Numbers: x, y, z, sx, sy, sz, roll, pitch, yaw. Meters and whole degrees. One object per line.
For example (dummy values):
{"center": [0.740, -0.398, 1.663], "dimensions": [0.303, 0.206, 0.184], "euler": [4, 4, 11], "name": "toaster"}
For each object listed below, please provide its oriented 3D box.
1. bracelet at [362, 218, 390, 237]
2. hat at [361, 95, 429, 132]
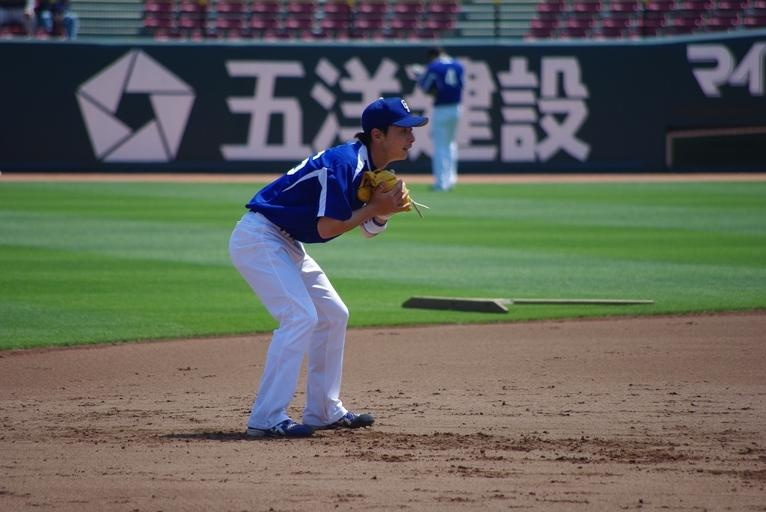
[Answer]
{"center": [-0.108, -0.351, 22.315], "dimensions": [0.316, 0.178, 0.190], "euler": [-28, 10, 17], "name": "bracelet"}
{"center": [0.132, -1.728, 22.166], "dimensions": [0.716, 0.323, 0.411], "euler": [-2, 11, 3], "name": "hat"}
